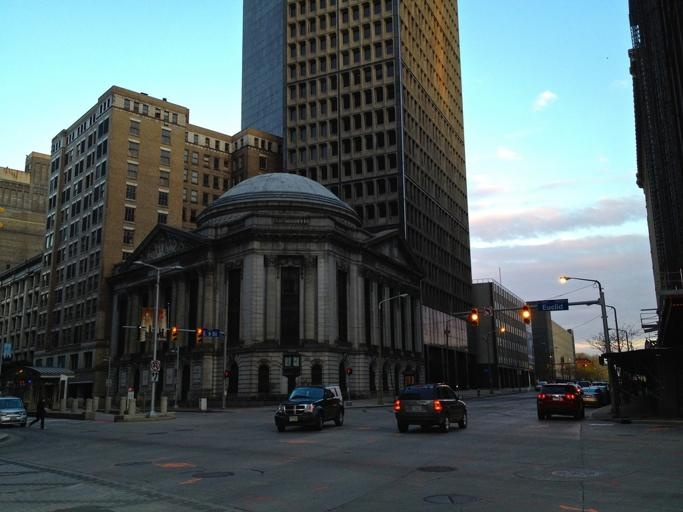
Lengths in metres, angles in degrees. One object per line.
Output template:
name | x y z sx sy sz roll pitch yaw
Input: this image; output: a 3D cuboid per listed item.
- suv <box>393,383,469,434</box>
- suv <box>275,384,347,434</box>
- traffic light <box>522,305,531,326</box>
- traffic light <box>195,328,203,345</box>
suv | 4.652 7.128 31.191 4.547 2.211 2.181 7 -18 -41
suv | -1.495 7.715 33.771 1.718 2.141 4.146 -11 -15 25
traffic light | 12.619 3.886 45.046 0.578 1.242 2.163 -8 -14 13
traffic light | -11.140 6.290 52.314 0.393 1.137 0.898 1 -14 -22
